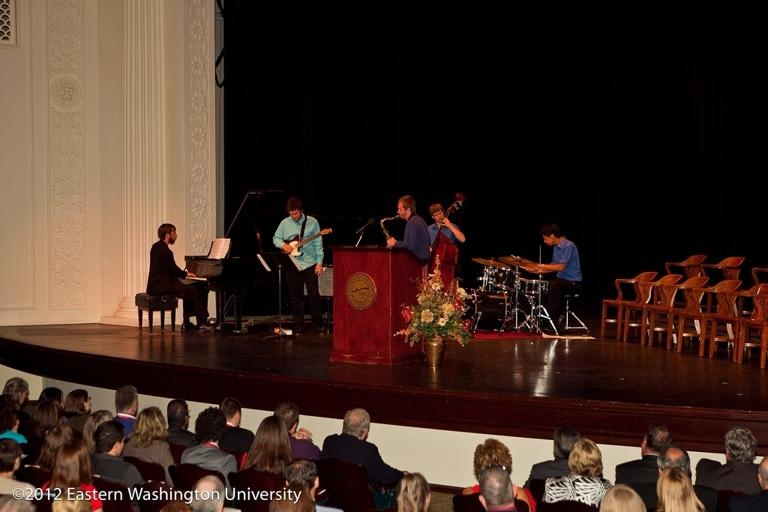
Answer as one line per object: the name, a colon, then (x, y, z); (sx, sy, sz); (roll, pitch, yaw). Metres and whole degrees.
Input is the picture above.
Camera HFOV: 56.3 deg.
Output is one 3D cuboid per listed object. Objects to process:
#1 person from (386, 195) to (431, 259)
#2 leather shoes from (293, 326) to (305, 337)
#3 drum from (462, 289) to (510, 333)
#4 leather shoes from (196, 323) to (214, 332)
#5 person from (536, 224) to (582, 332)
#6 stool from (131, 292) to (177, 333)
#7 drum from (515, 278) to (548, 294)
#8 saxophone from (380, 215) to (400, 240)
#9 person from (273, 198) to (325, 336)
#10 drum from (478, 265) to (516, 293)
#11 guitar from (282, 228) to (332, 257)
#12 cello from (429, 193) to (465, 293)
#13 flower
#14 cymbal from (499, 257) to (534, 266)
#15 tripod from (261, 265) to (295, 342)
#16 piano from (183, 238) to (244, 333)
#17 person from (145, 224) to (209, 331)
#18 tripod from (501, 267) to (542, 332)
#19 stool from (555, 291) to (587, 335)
person: (0.324, -0.407, 9.250); (0.525, 1.008, 1.121); (3, -10, 0)
leather shoes: (-1.337, 1.152, 11.234); (0.115, 0.128, 0.193); (-5, -12, 32)
drum: (1.781, 0.871, 12.206); (0.644, 0.637, 0.824); (2, -3, 7)
leather shoes: (-2.872, 1.120, 11.478); (0.294, 0.108, 0.118); (-1, 2, 35)
person: (2.923, 0.326, 11.976); (0.933, 1.779, 0.656); (0, 0, 3)
stool: (-3.551, 0.799, 11.047); (0.720, 0.625, 0.604); (2, -5, -32)
drum: (2.430, 0.486, 11.765); (0.460, 0.259, 0.483); (3, -10, 1)
saxophone: (0.098, -0.559, 13.457); (0.384, 0.168, 0.694); (-14, 24, 5)
person: (-1.330, 0.130, 10.989); (0.802, 2.031, 0.634); (-3, 1, 4)
drum: (1.876, 0.363, 11.947); (0.385, 0.265, 0.482); (4, -6, -9)
guitar: (-1.213, -0.225, 10.921); (0.584, 0.211, 0.081); (-27, 0, -2)
cello: (1.028, -0.179, 11.773); (0.748, 1.467, 0.519); (-1, -5, 45)
flower: (0.564, 0.531, 8.560); (0.609, 1.089, 0.692); (-1, 5, -38)
cymbal: (2.125, 0.064, 11.527); (0.551, 0.179, 0.380); (0, -11, 16)
tripod: (-1.780, 0.787, 11.479); (0.563, 1.427, 0.522); (-8, 14, 1)
piano: (-2.745, 0.367, 11.236); (0.584, 0.987, 1.260); (1, -2, -27)
person: (-3.210, 0.329, 11.185); (0.751, 1.880, 0.778); (0, 0, 5)
tripod: (2.392, 0.731, 12.027); (0.904, 0.862, 0.901); (0, -2, -11)
stool: (3.137, 0.932, 12.370); (0.504, 0.690, 0.485); (-2, -2, 2)
